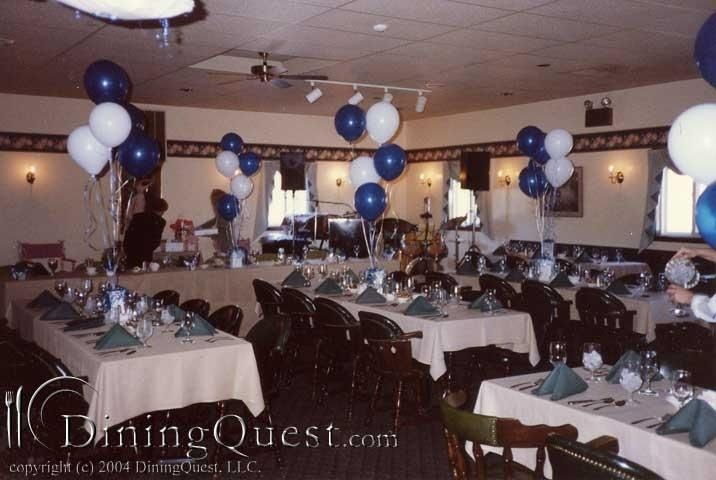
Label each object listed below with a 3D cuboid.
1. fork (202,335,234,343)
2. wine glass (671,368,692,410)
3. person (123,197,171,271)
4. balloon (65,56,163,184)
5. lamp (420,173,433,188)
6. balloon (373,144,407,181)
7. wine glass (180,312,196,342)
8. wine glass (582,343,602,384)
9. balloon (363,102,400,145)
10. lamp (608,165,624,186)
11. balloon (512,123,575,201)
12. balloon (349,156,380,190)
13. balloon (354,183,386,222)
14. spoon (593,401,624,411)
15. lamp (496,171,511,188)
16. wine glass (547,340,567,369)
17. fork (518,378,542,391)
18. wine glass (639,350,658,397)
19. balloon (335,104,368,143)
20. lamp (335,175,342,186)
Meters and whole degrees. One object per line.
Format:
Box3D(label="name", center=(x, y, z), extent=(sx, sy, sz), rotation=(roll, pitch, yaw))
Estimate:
Box3D(label="fork", center=(-1.274, 0.905, 5.154), extent=(0.257, 0.033, 0.088), rotation=(3, 7, 33))
Box3D(label="wine glass", center=(2.176, 0.999, 3.814), extent=(0.126, 0.251, 0.239), rotation=(0, 0, 29))
Box3D(label="person", center=(-4.731, -0.126, 12.455), extent=(0.638, 2.164, 0.539), rotation=(17, 23, -25))
Box3D(label="balloon", center=(-2.935, -1.340, 7.021), extent=(0.663, 1.040, 1.529), rotation=(1, -26, -44))
Box3D(label="lamp", center=(1.856, -1.637, 15.501), extent=(0.312, 0.484, 0.354), rotation=(3, -2, -23))
Box3D(label="balloon", center=(0.438, -1.068, 7.911), extent=(0.468, 0.572, 0.471), rotation=(-7, 15, -38))
Box3D(label="wine glass", center=(-1.546, 0.783, 5.135), extent=(0.103, 0.200, 0.213), rotation=(-1, 0, -19))
Box3D(label="wine glass", center=(1.794, 0.914, 4.344), extent=(0.117, 0.269, 0.269), rotation=(0, 0, 23))
Box3D(label="balloon", center=(0.381, -1.692, 8.296), extent=(0.549, 0.756, 0.575), rotation=(1, -1, 5))
Box3D(label="lamp", center=(5.185, -1.309, 11.455), extent=(0.327, 0.437, 0.252), rotation=(7, -8, -33))
Box3D(label="balloon", center=(3.094, -1.356, 9.510), extent=(0.756, 1.208, 1.546), rotation=(0, 0, 12))
Box3D(label="balloon", center=(0.097, -0.946, 8.025), extent=(0.396, 0.498, 0.417), rotation=(-2, 4, 7))
Box3D(label="balloon", center=(0.164, -0.492, 7.542), extent=(0.454, 0.602, 0.474), rotation=(-4, -1, 8))
Box3D(label="spoon", center=(1.713, 1.130, 3.872), extent=(0.269, 0.039, 0.077), rotation=(-1, 0, -20))
Box3D(label="lamp", center=(3.478, -1.474, 13.568), extent=(0.383, 0.417, 0.197), rotation=(3, -2, -5))
Box3D(label="wine glass", center=(1.475, 0.841, 4.184), extent=(0.103, 0.191, 0.229), rotation=(0, 0, 15))
Box3D(label="fork", center=(1.284, 1.066, 4.171), extent=(0.215, 0.009, 0.068), rotation=(-8, 10, -44))
Box3D(label="wine glass", center=(2.095, 0.946, 4.087), extent=(0.127, 0.301, 0.446), rotation=(0, 0, 27))
Box3D(label="balloon", center=(-0.134, -1.765, 8.445), extent=(0.525, 0.674, 0.543), rotation=(-9, 19, -12))
Box3D(label="lamp", center=(-0.496, -1.577, 15.271), extent=(0.185, 0.269, 0.046), rotation=(-1, 0, -20))
